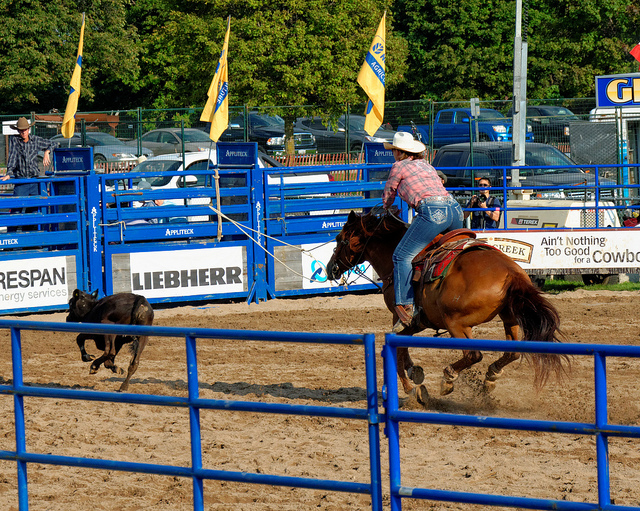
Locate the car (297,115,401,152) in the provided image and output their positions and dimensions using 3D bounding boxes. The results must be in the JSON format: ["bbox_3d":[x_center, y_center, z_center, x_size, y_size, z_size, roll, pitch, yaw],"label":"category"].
[{"bbox_3d":[0.571,-3.496,41.193,3.149,1.311,1.453,2,4,40],"label":"car"}]

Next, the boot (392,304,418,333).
[{"bbox_3d":[1.297,0.952,21.803,0.313,0.412,0.145,27,-13,51],"label":"boot"}]

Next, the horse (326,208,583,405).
[{"bbox_3d":[1.877,0.972,22.157,4.367,3.045,1.120,9,19,41],"label":"horse"}]

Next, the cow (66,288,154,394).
[{"bbox_3d":[-3.305,1.329,22.304,1.471,1.548,0.777,1,4,33],"label":"cow"}]

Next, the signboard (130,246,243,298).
[{"bbox_3d":[-2.619,0.357,27.581,2.357,1.179,1.318,-3,-1,-14],"label":"signboard"}]

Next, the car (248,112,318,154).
[{"bbox_3d":[-1.228,-3.594,42.227,1.236,1.235,2.648,-3,6,-32],"label":"car"}]

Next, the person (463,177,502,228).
[{"bbox_3d":[3.380,-0.966,29.201,0.858,1.385,0.861,2,14,12],"label":"person"}]

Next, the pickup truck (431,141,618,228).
[{"bbox_3d":[4.535,-1.489,30.500,2.558,1.399,2.600,-11,19,-35],"label":"pickup truck"}]

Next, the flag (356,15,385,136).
[{"bbox_3d":[1.130,-3.911,31.175,0.609,2.485,0.926,-2,4,2],"label":"flag"}]
